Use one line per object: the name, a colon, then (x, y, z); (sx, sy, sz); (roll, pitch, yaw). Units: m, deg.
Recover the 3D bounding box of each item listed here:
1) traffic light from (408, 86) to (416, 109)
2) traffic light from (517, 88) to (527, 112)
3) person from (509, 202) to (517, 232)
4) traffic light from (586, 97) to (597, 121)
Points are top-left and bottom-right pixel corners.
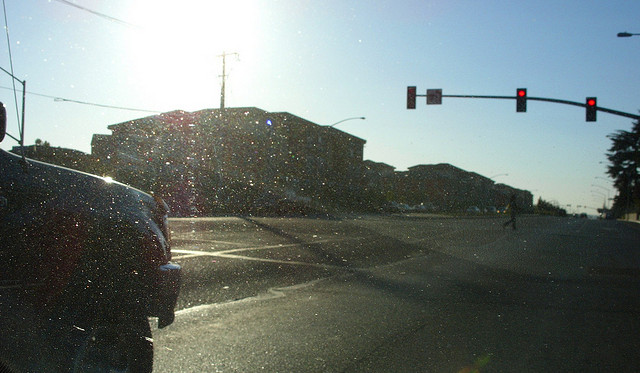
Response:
traffic light: (3.719, -3.631, 23.480); (0.332, 0.844, 0.372); (4, 9, 6)
traffic light: (8.342, -3.584, 23.781); (0.399, 0.892, 0.379); (5, 9, 13)
person: (9.476, 1.510, 28.198); (0.428, 1.429, 2.269); (6, 9, 18)
traffic light: (11.080, -3.166, 23.495); (0.425, 0.922, 0.680); (7, 10, 23)
